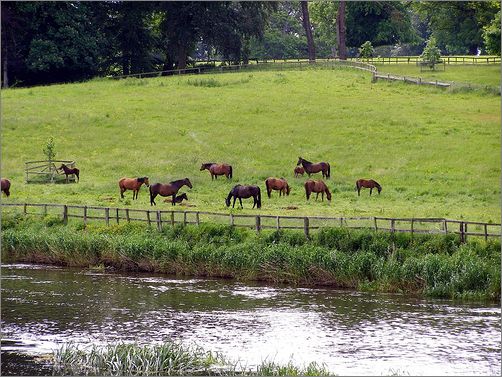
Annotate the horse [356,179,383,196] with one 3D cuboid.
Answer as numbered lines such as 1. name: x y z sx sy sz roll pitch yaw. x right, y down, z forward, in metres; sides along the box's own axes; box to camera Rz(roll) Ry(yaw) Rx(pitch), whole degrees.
1. horse: 9.442 -0.118 100.303 1.974 1.255 2.137 -3 6 -7

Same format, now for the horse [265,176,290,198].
1. horse: 2.067 -0.100 99.979 1.933 1.530 2.580 1 7 25
